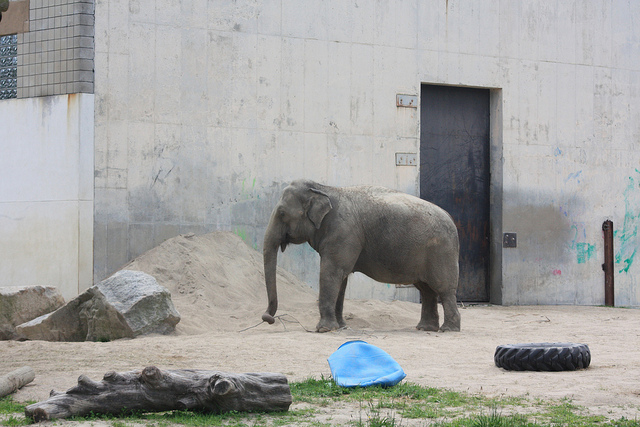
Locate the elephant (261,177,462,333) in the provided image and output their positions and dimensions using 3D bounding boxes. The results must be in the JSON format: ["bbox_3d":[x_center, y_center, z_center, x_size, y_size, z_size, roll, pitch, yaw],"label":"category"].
[{"bbox_3d":[0.854,0.955,31.681,3.957,2.825,1.070,8,7,-10],"label":"elephant"}]
